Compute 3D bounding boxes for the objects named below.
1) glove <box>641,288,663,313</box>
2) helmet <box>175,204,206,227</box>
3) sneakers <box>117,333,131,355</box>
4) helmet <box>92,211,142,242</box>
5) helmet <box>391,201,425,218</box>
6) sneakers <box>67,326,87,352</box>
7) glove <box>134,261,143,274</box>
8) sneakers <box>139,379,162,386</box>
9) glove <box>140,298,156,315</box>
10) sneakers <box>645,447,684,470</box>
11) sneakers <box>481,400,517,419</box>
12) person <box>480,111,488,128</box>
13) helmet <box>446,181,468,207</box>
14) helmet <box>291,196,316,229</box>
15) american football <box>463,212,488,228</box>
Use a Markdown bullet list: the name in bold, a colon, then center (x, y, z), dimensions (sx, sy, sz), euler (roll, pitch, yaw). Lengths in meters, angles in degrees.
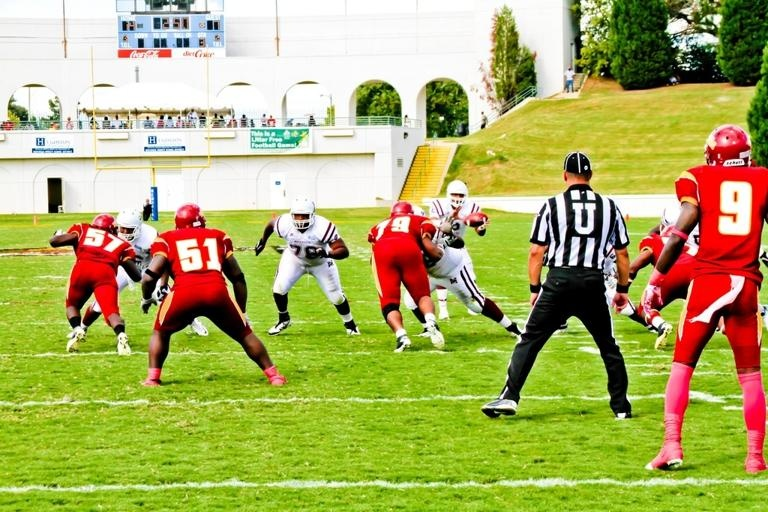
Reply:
- **glove**: center (4.126, 0.663, 19.092), dimensions (0.176, 0.362, 0.382), euler (27, 10, 18)
- **helmet**: center (-2.916, -0.616, 18.700), dimensions (0.430, 0.350, 0.325), euler (-12, 11, -18)
- **sneakers**: center (-4.073, 1.353, 19.399), dimensions (0.179, 0.434, 0.204), euler (-3, 9, -12)
- **helmet**: center (-4.420, -0.567, 20.597), dimensions (0.477, 0.565, 0.431), euler (9, -4, 8)
- **helmet**: center (0.388, -0.748, 20.164), dimensions (0.462, 0.246, 0.226), euler (-3, -25, 18)
- **sneakers**: center (-4.908, 1.309, 19.876), dimensions (0.146, 0.380, 0.174), euler (26, 27, -29)
- **glove**: center (-4.222, 0.162, 21.316), dimensions (0.226, 0.255, 0.103), euler (10, 9, 44)
- **sneakers**: center (-3.466, 1.834, 18.483), dimensions (0.282, 0.119, 0.137), euler (-1, 4, -1)
- **glove**: center (-3.967, 0.826, 20.884), dimensions (0.281, 0.100, 0.455), euler (4, -26, -13)
- **sneakers**: center (3.730, 2.640, 16.403), dimensions (0.198, 0.256, 0.562), euler (18, -23, -28)
- **sneakers**: center (1.620, 2.111, 17.422), dimensions (0.478, 0.198, 0.236), euler (3, -20, 5)
- **person**: center (4.941, -6.645, 61.253), dimensions (0.379, 0.795, 1.261), euler (-1, 4, 4)
- **helmet**: center (1.253, -1.070, 21.240), dimensions (0.354, 0.400, 0.454), euler (1, 3, -2)
- **helmet**: center (-1.224, -0.674, 20.267), dimensions (0.401, 0.441, 0.546), euler (-4, -9, 38)
- **american football**: center (1.457, -0.579, 20.050), dimensions (0.315, 0.177, 0.232), euler (4, 6, 42)
